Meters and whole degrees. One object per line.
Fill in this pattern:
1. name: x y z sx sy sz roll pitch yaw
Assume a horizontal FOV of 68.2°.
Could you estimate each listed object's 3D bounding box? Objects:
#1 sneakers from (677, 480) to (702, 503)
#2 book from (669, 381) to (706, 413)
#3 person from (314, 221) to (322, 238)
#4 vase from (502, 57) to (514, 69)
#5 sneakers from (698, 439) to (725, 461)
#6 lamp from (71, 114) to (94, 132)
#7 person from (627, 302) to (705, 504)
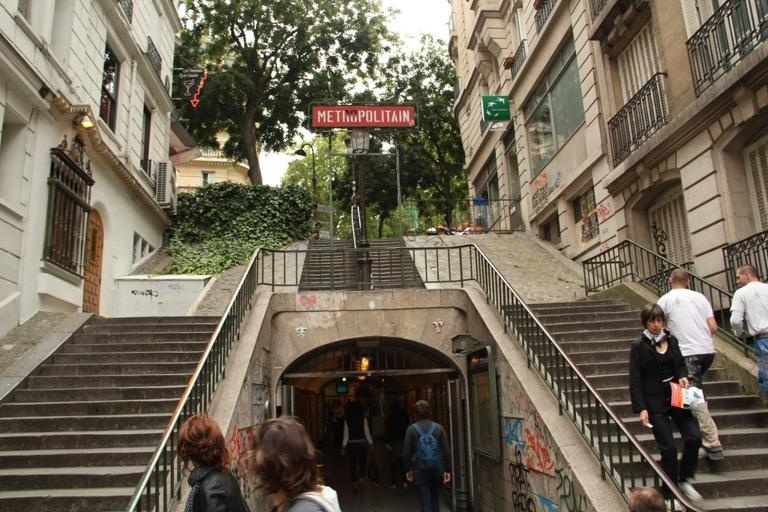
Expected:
1. sneakers: 3.965 3.027 7.304 0.221 0.232 0.147 0 -7 -6
2. book: 3.846 1.775 7.179 0.385 0.346 0.224 -5 -8 26
3. person: -3.397 -1.347 29.064 0.596 0.873 0.333 5 -1 -37
4. vase: 4.866 -7.556 22.156 0.315 0.117 0.473 0 -28 7
5. sneakers: 4.490 2.680 7.873 0.167 0.304 0.399 -1 1 2
6. lamp: -7.067 -3.082 13.334 0.341 0.371 0.614 -2 -7 4
7. person: 3.673 1.892 7.369 0.818 2.504 0.682 -7 -3 -3
